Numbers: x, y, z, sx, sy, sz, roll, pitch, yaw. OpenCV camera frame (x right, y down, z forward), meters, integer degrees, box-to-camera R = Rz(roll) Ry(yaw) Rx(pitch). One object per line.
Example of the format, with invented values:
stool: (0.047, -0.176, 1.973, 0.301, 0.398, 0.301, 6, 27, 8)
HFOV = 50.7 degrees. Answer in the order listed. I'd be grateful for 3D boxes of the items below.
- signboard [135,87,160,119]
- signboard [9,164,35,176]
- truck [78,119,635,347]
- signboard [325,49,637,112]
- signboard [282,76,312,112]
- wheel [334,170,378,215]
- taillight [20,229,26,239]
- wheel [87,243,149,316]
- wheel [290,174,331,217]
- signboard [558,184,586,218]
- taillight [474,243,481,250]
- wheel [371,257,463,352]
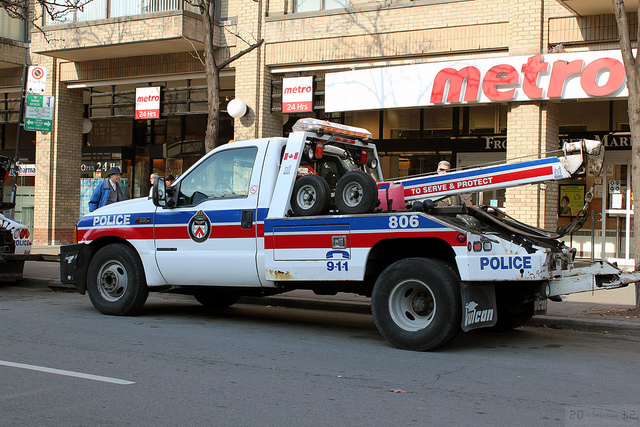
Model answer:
signboard: (-5.625, -3.552, 22.038, 0.980, 1.072, 0.104, -2, -9, 29)
signboard: (-11.301, -1.639, 26.054, 0.348, 0.468, 1.366, -4, 7, -43)
truck: (0.785, 0.376, 11.608, 9.905, 3.429, 3.645, 1, -5, 28)
signboard: (4.026, -3.432, 17.840, 7.471, 1.443, 0.253, 4, 6, 23)
signboard: (-0.657, -3.482, 20.007, 1.049, 1.033, 0.165, 1, 2, 36)
wheel: (0.540, -0.278, 10.459, 0.688, 0.760, 0.249, -3, -9, 30)
taillight: (-6.862, 0.485, 15.565, 0.029, 0.202, 0.135, 5, 6, 35)
wheel: (-3.589, 1.165, 12.022, 1.069, 1.106, 0.401, 14, 6, 29)
wheel: (-0.174, -0.243, 10.740, 0.689, 0.707, 0.248, 0, -3, 36)
signboard: (7.131, -0.353, 19.040, 0.836, 1.153, 0.118, 7, 1, 33)
taillight: (2.289, 0.483, 9.829, 0.086, 0.083, 0.022, 3, -3, 6)
wheel: (1.445, 1.369, 10.178, 1.346, 1.389, 0.466, -2, -5, 32)
